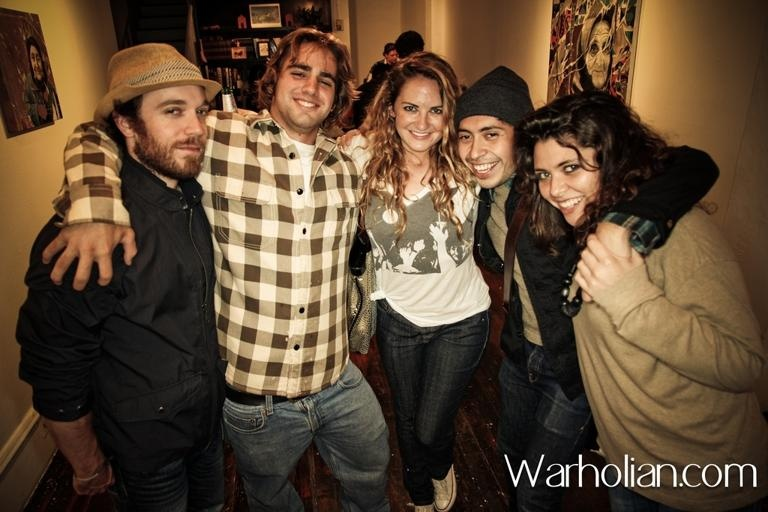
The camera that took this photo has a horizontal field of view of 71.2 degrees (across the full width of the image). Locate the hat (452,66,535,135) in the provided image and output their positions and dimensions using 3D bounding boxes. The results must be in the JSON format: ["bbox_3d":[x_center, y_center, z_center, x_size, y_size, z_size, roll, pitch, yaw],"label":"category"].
[{"bbox_3d":[0.636,-0.935,2.982,0.344,0.259,0.259,1,14,-21],"label":"hat"}]

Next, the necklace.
[{"bbox_3d":[0.898,0.045,2.441,0.114,0.382,0.277,4,30,-9],"label":"necklace"}]

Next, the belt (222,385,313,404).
[{"bbox_3d":[-0.573,0.671,2.578,0.379,0.083,0.052,-1,13,0],"label":"belt"}]
